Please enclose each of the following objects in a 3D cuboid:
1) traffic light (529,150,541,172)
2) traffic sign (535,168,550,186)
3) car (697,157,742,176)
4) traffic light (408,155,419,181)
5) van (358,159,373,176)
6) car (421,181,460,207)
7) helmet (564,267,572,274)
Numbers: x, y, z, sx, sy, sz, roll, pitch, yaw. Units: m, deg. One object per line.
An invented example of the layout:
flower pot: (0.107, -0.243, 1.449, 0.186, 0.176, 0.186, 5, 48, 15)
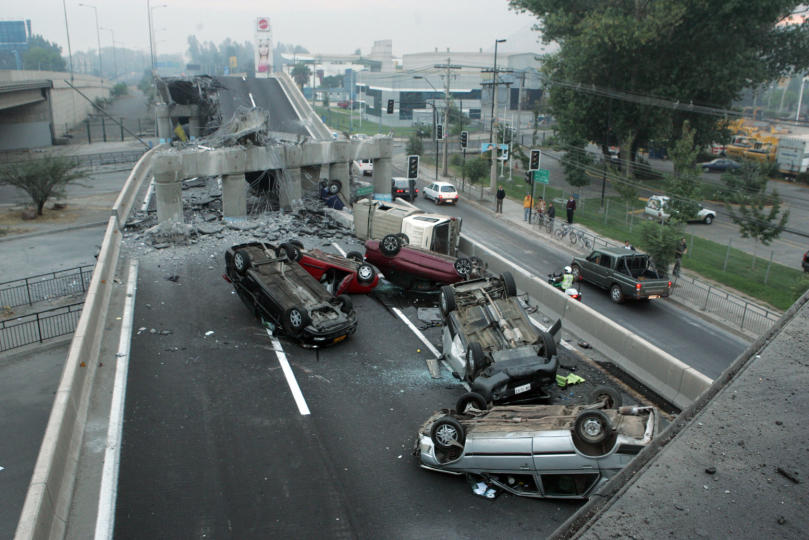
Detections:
traffic light: (9.665, -8.138, 42.130, 0.461, 1.587, 1.230, 11, 24, 27)
traffic sign: (10.537, -7.070, 43.559, 0.922, 1.204, 2.142, 2, 22, 7)
car: (33.710, -11.136, 60.393, 2.835, 1.222, 5.152, 5, 22, 13)
traffic light: (0.655, -7.662, 42.525, 0.635, 1.935, 1.324, -4, 22, -9)
van: (-3.751, -9.649, 52.832, 1.298, 1.501, 4.370, -1, 22, -1)
car: (2.760, -6.133, 46.114, 1.663, 1.340, 2.881, -5, 30, -19)
helmet: (7.870, 0.019, 27.288, 0.351, 0.298, 0.266, 7, 20, 22)
